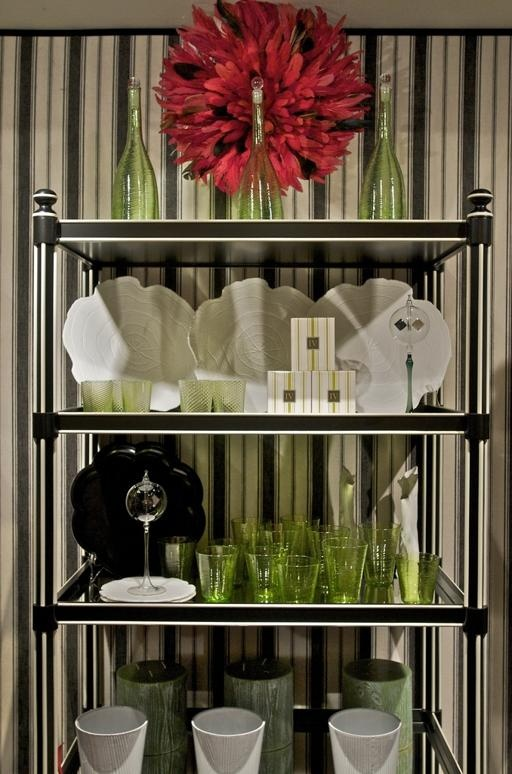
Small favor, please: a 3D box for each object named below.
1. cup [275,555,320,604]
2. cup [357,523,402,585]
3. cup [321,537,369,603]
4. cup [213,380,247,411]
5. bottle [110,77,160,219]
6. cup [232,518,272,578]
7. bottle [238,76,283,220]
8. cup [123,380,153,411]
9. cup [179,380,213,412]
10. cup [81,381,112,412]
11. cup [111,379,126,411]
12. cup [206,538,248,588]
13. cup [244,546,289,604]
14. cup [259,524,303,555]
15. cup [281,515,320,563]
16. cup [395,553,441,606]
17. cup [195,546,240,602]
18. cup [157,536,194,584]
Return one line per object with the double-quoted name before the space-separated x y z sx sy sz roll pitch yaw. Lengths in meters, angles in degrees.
"cup" 0.077 0.358 2.278 0.070 0.090 0.078 0 -10 -4
"cup" 0.238 0.322 2.366 0.090 0.135 0.093 0 -4 0
"cup" 0.165 0.348 2.345 0.095 0.129 0.096 1 -9 0
"cup" -0.048 0.021 2.317 0.050 0.070 0.055 0 -4 3
"bottle" -0.232 -0.451 2.381 0.086 0.266 0.132 -1 -28 -7
"cup" -0.015 0.324 2.440 0.087 0.155 0.096 0 -5 -3
"bottle" 0.001 -0.436 2.332 0.082 0.238 0.129 -4 -28 0
"cup" -0.221 0.021 2.316 0.044 0.060 0.052 1 -5 -4
"cup" -0.111 0.024 2.315 0.047 0.052 0.058 0 -7 -3
"cup" -0.295 0.020 2.309 0.050 0.060 0.050 0 0 0
"cup" -0.256 0.023 2.322 0.036 0.073 0.071 0 0 0
"cup" -0.053 0.342 2.386 0.070 0.095 0.081 0 -3 0
"cup" 0.022 0.355 2.303 0.079 0.104 0.088 -1 -8 1
"cup" 0.054 0.302 2.453 0.056 0.057 0.069 0 -7 0
"cup" 0.087 0.300 2.423 0.058 0.078 0.068 0 -6 -2
"cup" 0.301 0.358 2.289 0.076 0.097 0.085 0 -9 2
"cup" -0.069 0.354 2.313 0.078 0.104 0.088 0 -8 -2
"cup" -0.153 0.335 2.390 0.067 0.088 0.074 0 -7 -4
